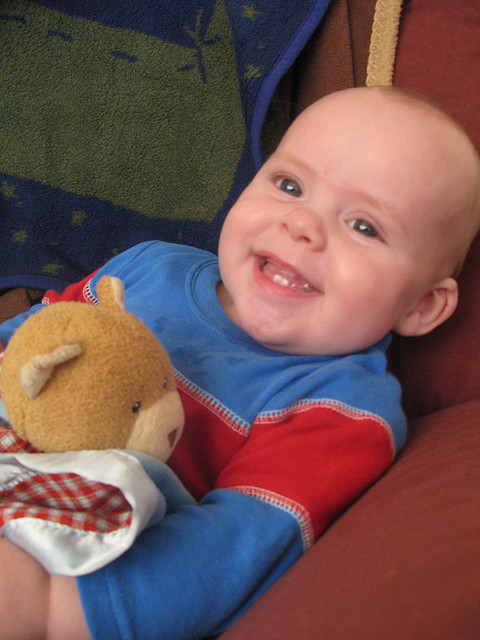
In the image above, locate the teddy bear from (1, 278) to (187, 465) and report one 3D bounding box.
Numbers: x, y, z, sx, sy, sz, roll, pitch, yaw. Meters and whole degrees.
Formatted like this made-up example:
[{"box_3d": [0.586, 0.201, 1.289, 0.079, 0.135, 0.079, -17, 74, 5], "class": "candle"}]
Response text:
[{"box_3d": [-0.120, 0.061, 0.533, 0.163, 0.130, 0.147, 17, 27, 8], "class": "teddy bear"}]
